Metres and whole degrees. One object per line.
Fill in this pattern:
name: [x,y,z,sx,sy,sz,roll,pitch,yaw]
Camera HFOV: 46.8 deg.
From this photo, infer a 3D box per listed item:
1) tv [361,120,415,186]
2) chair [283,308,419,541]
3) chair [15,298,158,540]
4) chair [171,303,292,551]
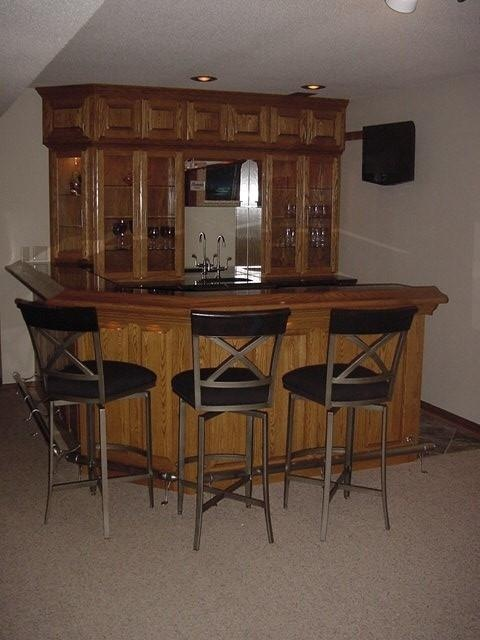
tv: [1.275,-1.420,4.718,0.074,0.556,0.564,-9,13,-33]
chair: [0.492,0.451,2.620,0.511,1.100,0.548,-8,13,-43]
chair: [-0.682,0.430,2.580,0.481,1.069,0.521,7,12,35]
chair: [-0.065,0.449,2.558,0.504,1.053,0.701,1,7,-4]
